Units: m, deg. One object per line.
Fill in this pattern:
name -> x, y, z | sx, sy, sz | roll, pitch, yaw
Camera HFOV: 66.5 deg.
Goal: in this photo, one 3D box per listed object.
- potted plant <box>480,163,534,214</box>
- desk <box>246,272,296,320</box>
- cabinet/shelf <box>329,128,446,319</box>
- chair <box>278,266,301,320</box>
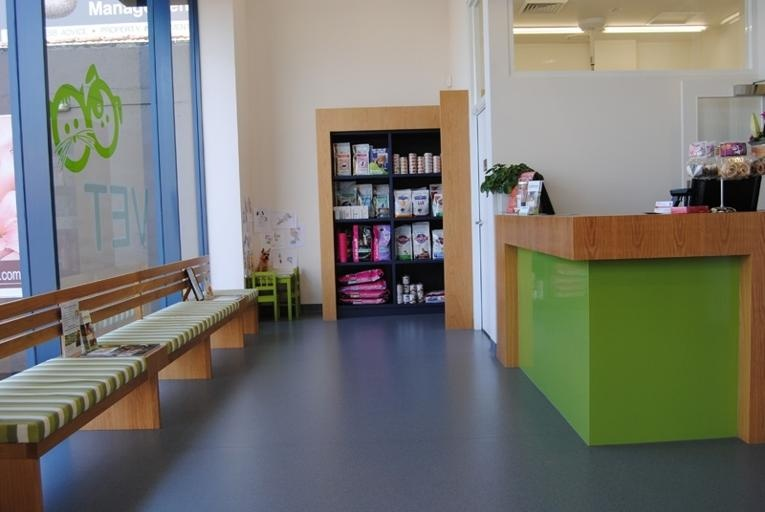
potted plant -> 1.198, -0.643, 5.560 | 0.388, 0.470, 0.679 | -5, 11, -17
desk -> -1.361, 0.470, 7.313 | 0.577, 0.453, 0.598 | 0, 5, 0
cabinet/shelf -> 0.079, -0.431, 7.478 | 1.408, 2.308, 0.812 | -2, 10, -3
chair -> -1.199, 0.488, 7.457 | 0.373, 0.464, 0.644 | -1, 4, -2
